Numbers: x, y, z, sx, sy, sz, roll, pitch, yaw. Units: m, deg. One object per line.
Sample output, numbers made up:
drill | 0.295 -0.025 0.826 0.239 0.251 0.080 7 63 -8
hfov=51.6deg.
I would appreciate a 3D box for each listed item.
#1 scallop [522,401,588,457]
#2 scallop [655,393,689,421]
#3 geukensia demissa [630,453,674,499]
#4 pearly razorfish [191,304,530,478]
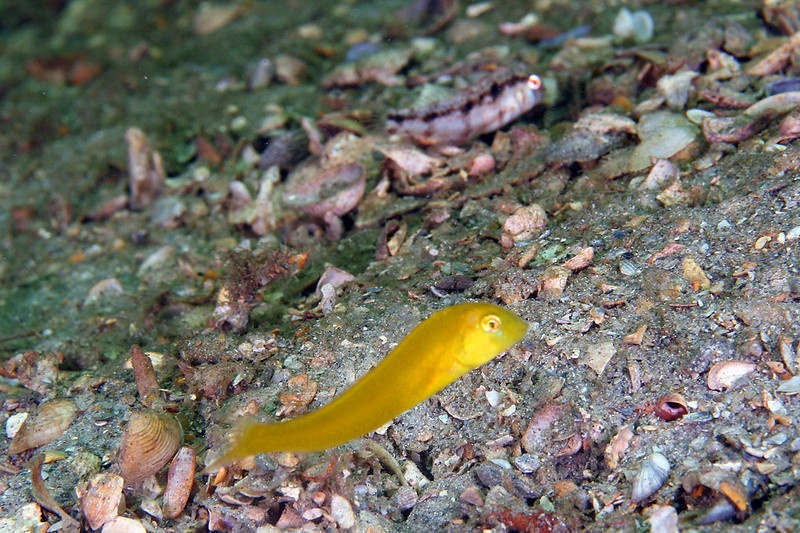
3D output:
scallop | 1.107 1.186 6.005 0.427 0.141 0.364 -1 66 20
scallop | 1.926 1.007 5.891 0.226 0.066 0.171 -19 61 12
geukensia demissa | 1.719 1.528 5.836 0.292 0.107 0.483 -11 22 42
pearly razorfish | -0.104 0.759 5.481 2.011 0.342 0.408 -33 59 4
